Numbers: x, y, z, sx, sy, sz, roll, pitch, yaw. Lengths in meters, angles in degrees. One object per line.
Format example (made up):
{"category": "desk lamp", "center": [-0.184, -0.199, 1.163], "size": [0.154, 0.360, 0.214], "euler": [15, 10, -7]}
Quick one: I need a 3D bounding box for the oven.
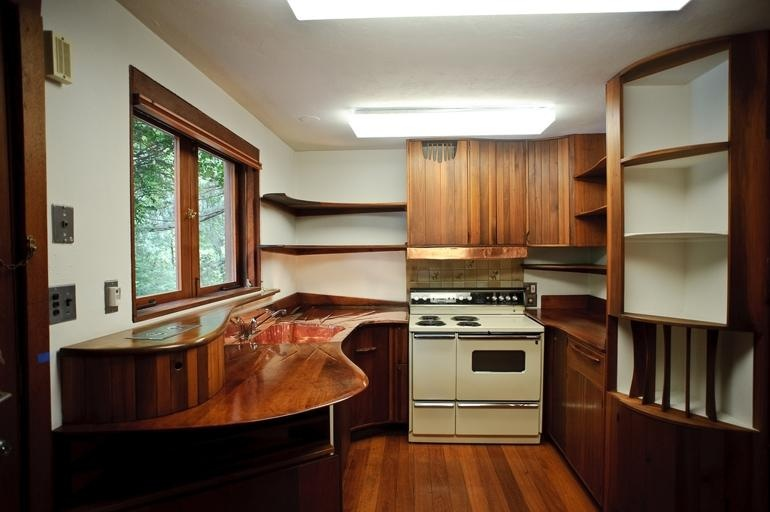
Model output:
{"category": "oven", "center": [0.915, 0.960, 4.476], "size": [0.804, 0.520, 0.852], "euler": [-4, -16, 20]}
